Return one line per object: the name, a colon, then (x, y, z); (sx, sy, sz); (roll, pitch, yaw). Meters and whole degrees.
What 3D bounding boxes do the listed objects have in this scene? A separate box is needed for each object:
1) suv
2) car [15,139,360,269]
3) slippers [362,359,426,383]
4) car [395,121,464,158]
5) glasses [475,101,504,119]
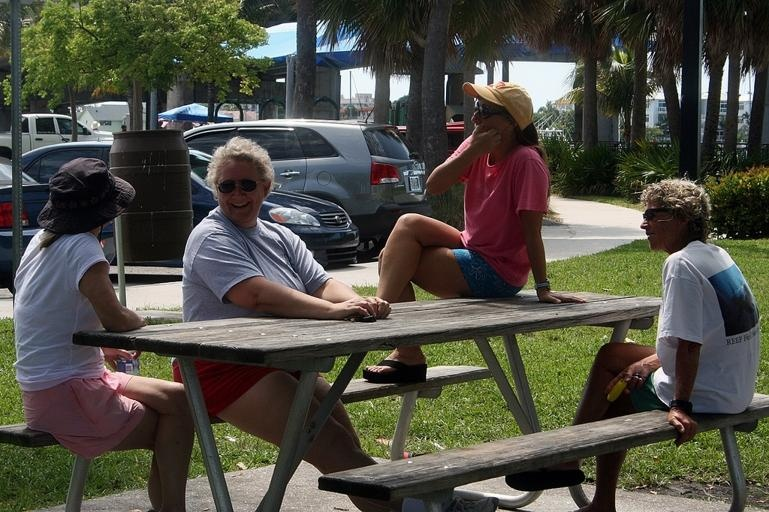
suv: (-0.852, -1.240, 12.870); (3.950, 1.602, 1.915); (6, 4, 15)
car: (-2.826, -0.769, 11.741); (4.498, 1.825, 2.154); (1, 2, 0)
slippers: (0.071, 0.725, 4.715); (0.294, 0.114, 0.167); (2, -3, -9)
car: (1.304, -3.992, 25.124); (2.631, 1.389, 1.696); (-2, 8, 11)
glasses: (0.666, -0.926, 4.898); (0.135, 0.047, 0.112); (4, 5, -22)
